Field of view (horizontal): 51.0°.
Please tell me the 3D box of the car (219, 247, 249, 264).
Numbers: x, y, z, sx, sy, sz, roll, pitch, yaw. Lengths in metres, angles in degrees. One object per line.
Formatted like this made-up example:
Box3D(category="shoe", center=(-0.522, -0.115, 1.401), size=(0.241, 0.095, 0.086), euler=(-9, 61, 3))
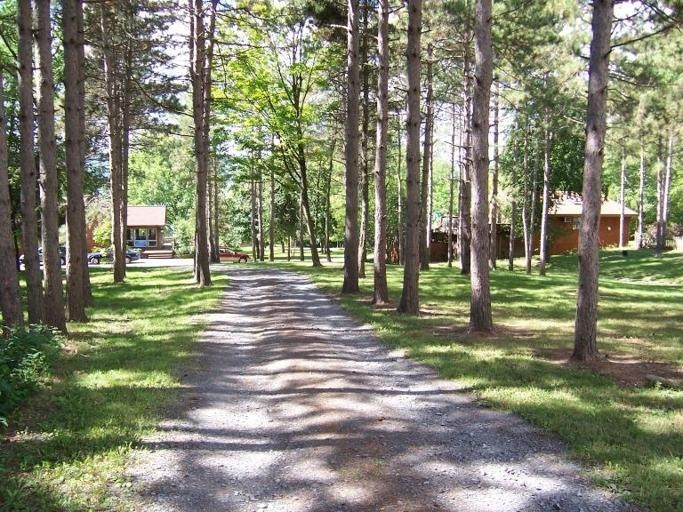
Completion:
Box3D(category="car", center=(-8.511, -0.012, 56.133), size=(2.244, 0.863, 1.043), euler=(0, 3, -19))
